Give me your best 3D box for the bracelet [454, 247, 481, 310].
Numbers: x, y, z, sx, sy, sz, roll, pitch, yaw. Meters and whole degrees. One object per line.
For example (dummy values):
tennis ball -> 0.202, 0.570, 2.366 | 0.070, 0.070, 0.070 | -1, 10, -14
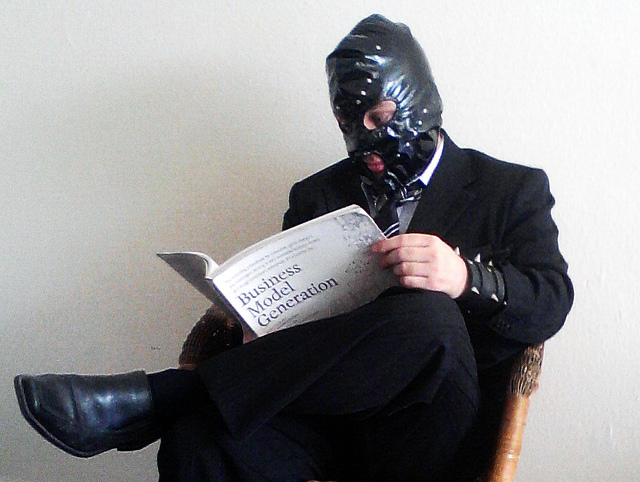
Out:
bracelet -> 0.378, 0.095, 2.061 | 0.037, 0.129, 0.098 | -10, -9, 4

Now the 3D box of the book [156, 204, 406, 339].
book -> -0.065, 0.079, 1.981 | 0.466, 0.371, 0.153 | -23, -24, -15

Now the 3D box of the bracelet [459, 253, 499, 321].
bracelet -> 0.431, 0.128, 2.141 | 0.125, 0.138, 0.085 | 17, -6, 43

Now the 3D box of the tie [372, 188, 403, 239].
tie -> 0.203, -0.074, 2.402 | 0.114, 0.142, 0.033 | 13, -8, 25

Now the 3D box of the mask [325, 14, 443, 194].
mask -> 0.199, -0.426, 2.416 | 0.333, 0.531, 0.278 | -22, 20, -30
